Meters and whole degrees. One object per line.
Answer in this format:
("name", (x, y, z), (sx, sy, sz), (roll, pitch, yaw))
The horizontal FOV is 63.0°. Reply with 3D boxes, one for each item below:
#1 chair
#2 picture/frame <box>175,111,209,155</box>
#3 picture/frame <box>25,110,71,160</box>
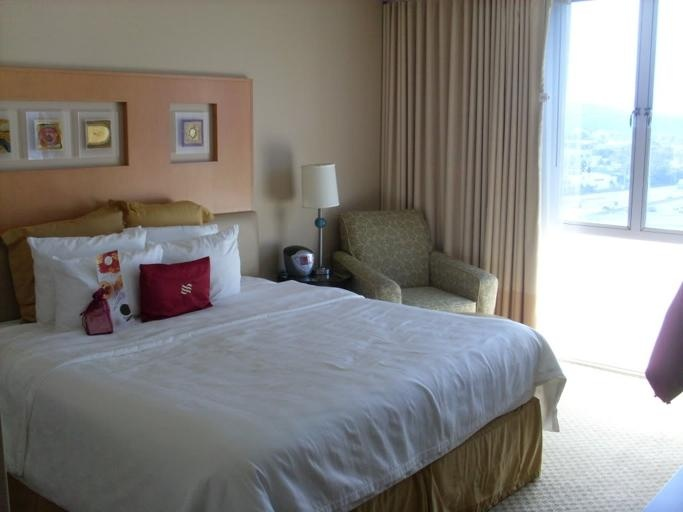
("chair", (0.599, 0.058, 4.770), (0.967, 1.175, 1.049), (-7, 13, -27))
("picture/frame", (-1.119, -0.926, 4.125), (0.030, 0.319, 0.290), (5, 9, 35))
("picture/frame", (-1.837, -0.760, 3.466), (0.028, 0.317, 0.267), (10, 15, 42))
